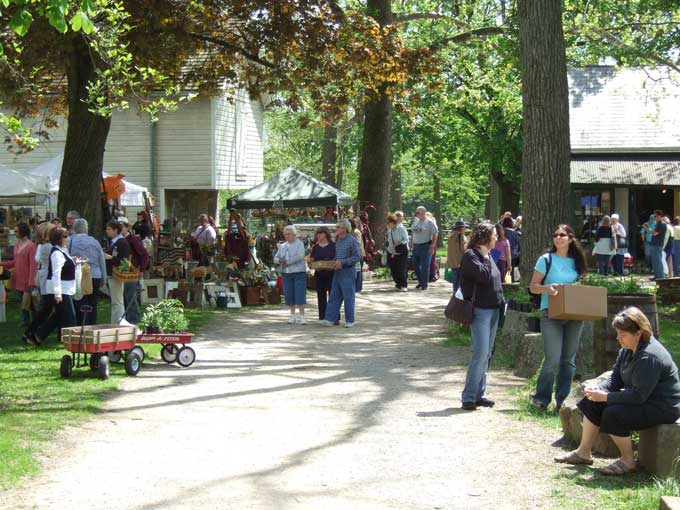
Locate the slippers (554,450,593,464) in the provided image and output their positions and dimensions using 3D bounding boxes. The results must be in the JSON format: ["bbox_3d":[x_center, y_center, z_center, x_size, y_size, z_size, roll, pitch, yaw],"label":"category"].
[{"bbox_3d":[2.441,2.122,8.582,0.321,0.130,0.168,6,-6,13],"label":"slippers"}]

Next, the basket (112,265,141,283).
[{"bbox_3d":[-3.591,0.342,13.868,0.416,0.239,0.298,-1,0,-22],"label":"basket"}]

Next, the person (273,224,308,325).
[{"bbox_3d":[-0.997,0.406,16.784,0.561,1.874,1.146,-1,0,-4],"label":"person"}]

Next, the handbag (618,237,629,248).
[{"bbox_3d":[8.439,-0.347,24.360,0.365,0.391,0.263,-2,0,30],"label":"handbag"}]

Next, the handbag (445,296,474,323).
[{"bbox_3d":[1.508,0.703,10.464,0.354,0.320,0.169,-1,0,27],"label":"handbag"}]

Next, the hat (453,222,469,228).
[{"bbox_3d":[2.505,-0.619,17.056,0.217,0.080,0.220,-1,1,-30],"label":"hat"}]

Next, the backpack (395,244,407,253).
[{"bbox_3d":[1.660,-0.162,22.147,0.212,0.168,0.224,-2,6,5],"label":"backpack"}]

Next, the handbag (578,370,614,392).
[{"bbox_3d":[2.947,1.459,9.486,0.435,0.125,0.413,-27,9,-34],"label":"handbag"}]

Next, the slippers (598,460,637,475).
[{"bbox_3d":[2.809,2.165,8.330,0.294,0.099,0.144,1,-3,-21],"label":"slippers"}]

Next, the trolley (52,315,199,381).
[{"bbox_3d":[-3.142,1.322,12.039,0.859,0.637,1.627,3,6,42],"label":"trolley"}]

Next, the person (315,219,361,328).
[{"bbox_3d":[0.048,0.363,16.268,0.729,1.961,0.888,-1,0,-1],"label":"person"}]

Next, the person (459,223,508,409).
[{"bbox_3d":[1.794,0.775,10.508,0.605,2.060,0.359,-1,0,-28],"label":"person"}]
